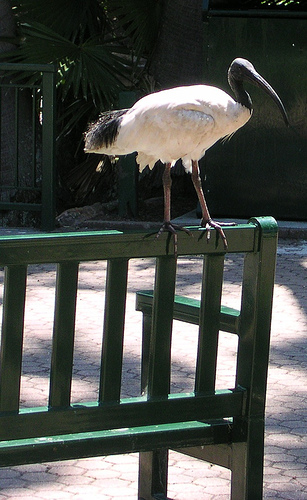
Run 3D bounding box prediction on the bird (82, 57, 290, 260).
[{"bbox_3d":[0.193,-0.492,4.114,1.095,0.854,0.507,4,6,21],"label":"bird"}]
